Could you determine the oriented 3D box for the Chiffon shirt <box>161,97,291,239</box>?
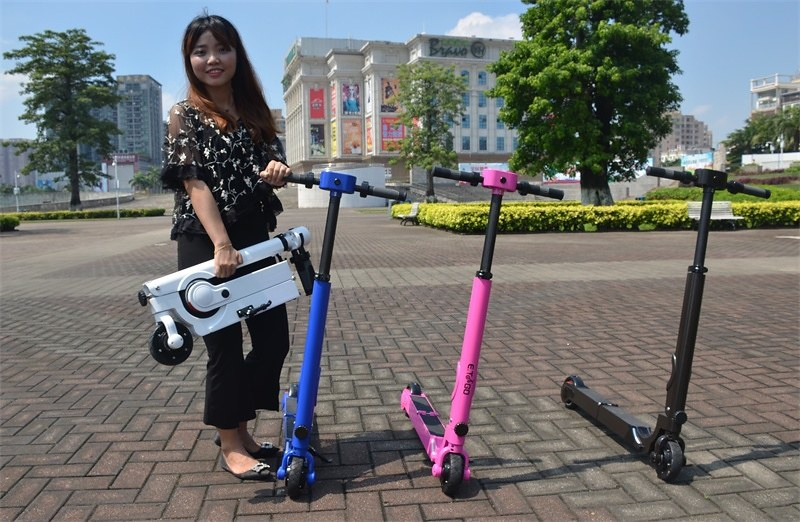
[{"bbox_3d":[-1.269,-0.660,4.505,0.492,0.967,1.003,9,15,41],"label":"Chiffon shirt"}]

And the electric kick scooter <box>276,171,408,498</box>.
[{"bbox_3d":[-0.545,0.469,4.359,0.934,2.177,0.500,-11,18,-35],"label":"electric kick scooter"}]

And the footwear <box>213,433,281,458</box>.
[{"bbox_3d":[-1.134,1.417,4.743,0.539,0.207,0.186,-1,-2,11],"label":"footwear"}]

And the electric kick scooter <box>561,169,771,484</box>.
[{"bbox_3d":[1.956,0.342,4.761,1.238,2.160,1.259,10,18,35],"label":"electric kick scooter"}]

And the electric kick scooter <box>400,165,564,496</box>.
[{"bbox_3d":[0.585,0.400,4.558,1.115,2.206,1.226,-1,15,-3],"label":"electric kick scooter"}]
